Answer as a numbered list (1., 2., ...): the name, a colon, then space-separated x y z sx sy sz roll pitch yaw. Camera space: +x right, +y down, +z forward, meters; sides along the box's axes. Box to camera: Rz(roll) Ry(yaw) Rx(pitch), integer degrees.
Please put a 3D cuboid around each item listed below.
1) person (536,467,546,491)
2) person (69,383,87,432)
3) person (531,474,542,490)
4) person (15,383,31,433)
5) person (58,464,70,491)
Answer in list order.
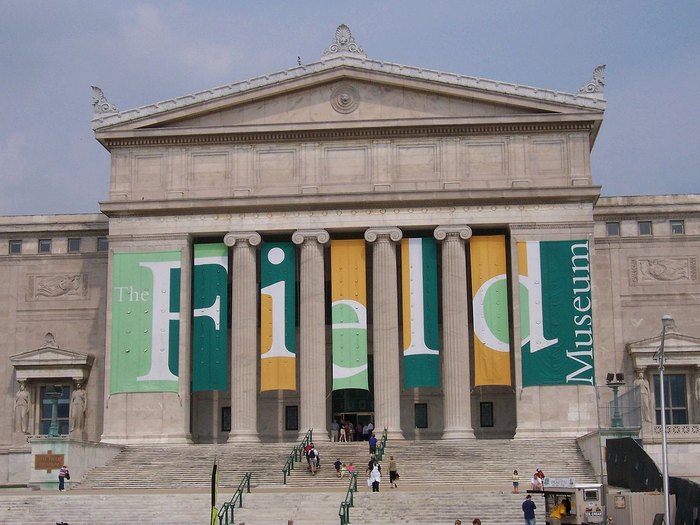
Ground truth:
1. person: 9.572 10.957 73.267 0.655 1.325 0.485 3 -14 7
2. person: -16.327 9.062 86.816 0.900 2.726 0.914 2 -13 -13
3. person: 9.156 10.937 71.379 0.824 0.742 1.435 -5 -8 9
4. person: -19.765 8.849 87.301 0.872 3.289 0.670 3 -13 -19
5. person: -15.210 11.454 76.552 0.505 1.388 0.745 1 -12 -11
